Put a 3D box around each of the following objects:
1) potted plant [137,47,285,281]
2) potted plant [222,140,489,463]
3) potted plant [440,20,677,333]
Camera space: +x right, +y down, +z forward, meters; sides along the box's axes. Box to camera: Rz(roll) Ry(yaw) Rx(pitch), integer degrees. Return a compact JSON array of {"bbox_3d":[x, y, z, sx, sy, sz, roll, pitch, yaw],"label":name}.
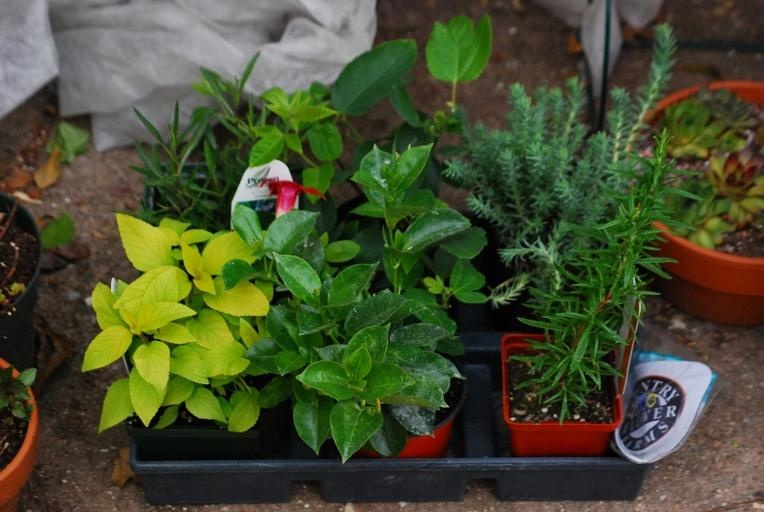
[{"bbox_3d":[-0.578,-0.121,2.350,0.378,0.423,0.562,5,83,18],"label":"potted plant"},{"bbox_3d":[-0.028,0.133,1.874,0.583,0.554,0.684,33,64,27],"label":"potted plant"},{"bbox_3d":[0.392,-0.381,2.377,0.731,1.088,0.725,7,43,3],"label":"potted plant"}]
